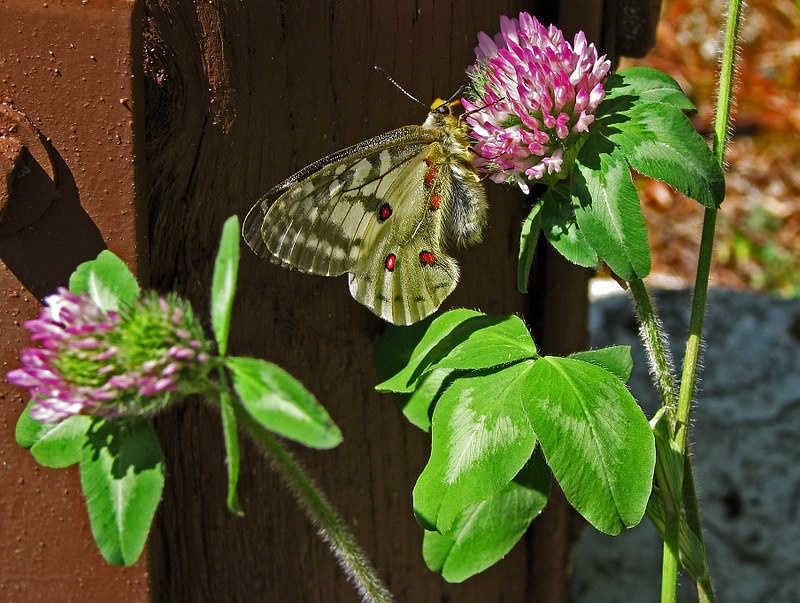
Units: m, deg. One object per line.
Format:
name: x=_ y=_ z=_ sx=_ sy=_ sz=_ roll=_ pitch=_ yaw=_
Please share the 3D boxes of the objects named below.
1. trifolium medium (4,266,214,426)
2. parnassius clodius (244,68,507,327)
trifolium medium: x=-0.540 y=0.100 z=1.803 sx=0.274 sy=0.128 sz=0.338 roll=18 pitch=76 yaw=-6
parnassius clodius: x=-0.063 y=-0.194 z=2.424 sx=0.380 sy=0.575 sz=0.607 roll=27 pitch=0 yaw=-18
